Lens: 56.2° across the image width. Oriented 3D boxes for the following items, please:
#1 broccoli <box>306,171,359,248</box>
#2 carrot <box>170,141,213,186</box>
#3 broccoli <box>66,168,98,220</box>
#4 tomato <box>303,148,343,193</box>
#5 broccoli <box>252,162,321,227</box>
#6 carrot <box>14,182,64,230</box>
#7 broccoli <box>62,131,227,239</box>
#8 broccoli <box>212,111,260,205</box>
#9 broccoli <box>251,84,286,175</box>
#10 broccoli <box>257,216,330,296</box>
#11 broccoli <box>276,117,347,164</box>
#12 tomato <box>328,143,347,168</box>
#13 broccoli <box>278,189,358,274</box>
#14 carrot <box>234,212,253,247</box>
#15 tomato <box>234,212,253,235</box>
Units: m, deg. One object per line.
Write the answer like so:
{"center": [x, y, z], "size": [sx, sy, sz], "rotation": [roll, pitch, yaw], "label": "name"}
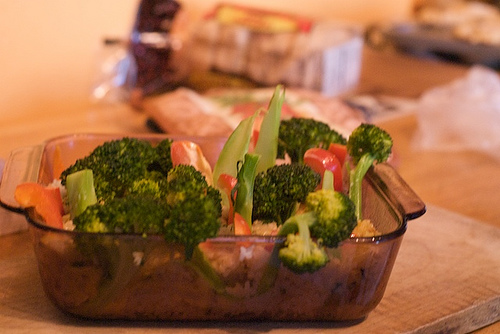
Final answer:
{"center": [0.139, 0.083, 0.810], "size": [0.065, 0.059, 0.106], "rotation": [19, 6, -1], "label": "broccoli"}
{"center": [-0.117, -0.005, 0.903], "size": [0.082, 0.088, 0.021], "rotation": [-1, -6, -7], "label": "carrot"}
{"center": [-0.301, 0.045, 0.828], "size": [0.071, 0.076, 0.023], "rotation": [-12, 10, -21], "label": "broccoli"}
{"center": [0.137, 0.009, 0.884], "size": [0.038, 0.070, 0.071], "rotation": [-15, -21, 36], "label": "tomato"}
{"center": [0.070, 0.057, 0.914], "size": [0.106, 0.117, 0.116], "rotation": [0, -5, 22], "label": "broccoli"}
{"center": [-0.373, 0.069, 0.817], "size": [0.024, 0.088, 0.086], "rotation": [-37, 58, 11], "label": "carrot"}
{"center": [-0.212, -0.017, 0.838], "size": [0.213, 0.097, 0.238], "rotation": [-10, 12, -8], "label": "broccoli"}
{"center": [-0.018, -0.009, 0.892], "size": [0.079, 0.040, 0.338], "rotation": [12, 44, -9], "label": "broccoli"}
{"center": [0.047, -0.090, 0.926], "size": [0.026, 0.159, 0.034], "rotation": [12, -4, -19], "label": "broccoli"}
{"center": [0.075, 0.152, 0.777], "size": [0.114, 0.125, 0.077], "rotation": [4, 41, 2], "label": "broccoli"}
{"center": [0.131, -0.050, 0.979], "size": [0.108, 0.096, 0.109], "rotation": [3, 4, 38], "label": "broccoli"}
{"center": [0.178, -0.022, 0.942], "size": [0.039, 0.069, 0.036], "rotation": [2, 13, 4], "label": "tomato"}
{"center": [0.109, 0.105, 0.809], "size": [0.141, 0.103, 0.083], "rotation": [-22, 72, -2], "label": "broccoli"}
{"center": [-0.016, 0.117, 0.832], "size": [0.032, 0.017, 0.042], "rotation": [0, 58, -61], "label": "carrot"}
{"center": [-0.016, 0.100, 0.843], "size": [0.035, 0.020, 0.027], "rotation": [52, 18, 9], "label": "tomato"}
